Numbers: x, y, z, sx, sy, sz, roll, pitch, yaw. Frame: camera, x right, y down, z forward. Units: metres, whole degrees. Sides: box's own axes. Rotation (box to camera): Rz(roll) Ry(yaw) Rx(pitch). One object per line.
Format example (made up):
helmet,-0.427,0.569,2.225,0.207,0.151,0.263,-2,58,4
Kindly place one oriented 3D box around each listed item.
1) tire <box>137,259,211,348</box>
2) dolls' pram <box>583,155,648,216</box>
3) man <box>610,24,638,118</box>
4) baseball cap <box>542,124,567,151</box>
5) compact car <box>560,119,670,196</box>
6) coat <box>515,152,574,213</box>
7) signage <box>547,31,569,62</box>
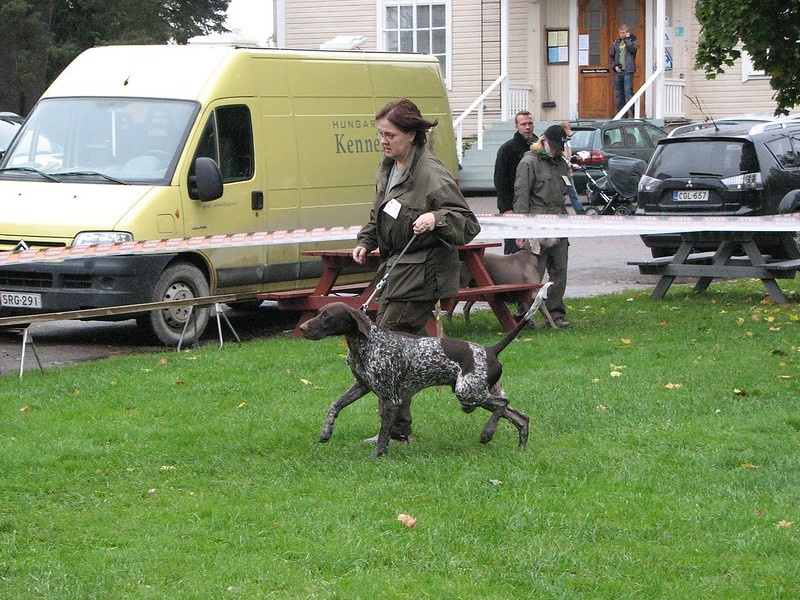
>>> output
tire,-2.404,0.058,12.827,0.811,0.894,0.486,-5,8,-19
dolls' pram,3.969,-2.056,22.262,0.835,1.185,1.223,-8,13,-44
man,5.033,-5.129,27.070,0.536,2.028,1.188,-1,8,9
baseball cap,1.716,-1.774,13.333,0.244,0.285,0.362,-1,7,7
compact car,4.287,-2.916,24.324,2.621,1.312,1.486,-8,10,-34
coat,1.643,-1.310,13.711,0.874,0.806,0.421,0,-2,-42
signage,3.804,-6.057,28.799,0.712,0.945,0.083,4,12,33
